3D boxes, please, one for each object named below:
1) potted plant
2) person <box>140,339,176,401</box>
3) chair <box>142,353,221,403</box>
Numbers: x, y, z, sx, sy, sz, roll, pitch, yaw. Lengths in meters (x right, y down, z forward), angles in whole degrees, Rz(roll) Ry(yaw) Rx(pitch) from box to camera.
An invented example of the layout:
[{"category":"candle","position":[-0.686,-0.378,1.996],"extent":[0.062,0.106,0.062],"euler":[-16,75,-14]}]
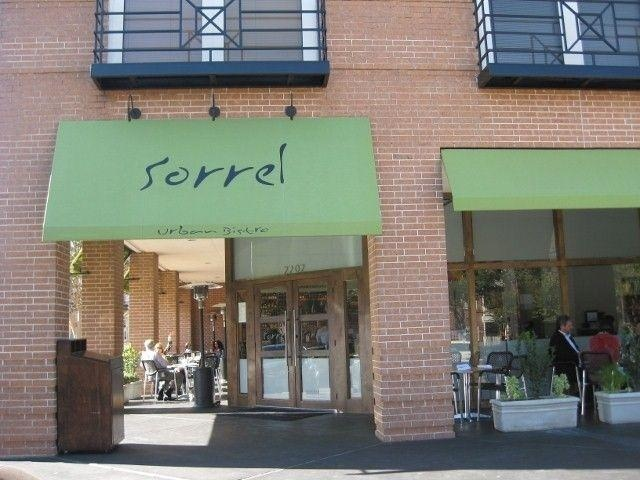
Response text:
[{"category":"potted plant","position":[4.069,2.448,14.660],"extent":[2.528,1.661,1.588],"euler":[-1,-10,-9]},{"category":"person","position":[-3.866,3.078,19.708],"extent":[0.757,1.462,1.323],"euler":[0,-10,-10]},{"category":"chair","position":[-3.371,3.332,20.131],"extent":[1.752,1.161,1.144],"euler":[1,-7,-10]}]
